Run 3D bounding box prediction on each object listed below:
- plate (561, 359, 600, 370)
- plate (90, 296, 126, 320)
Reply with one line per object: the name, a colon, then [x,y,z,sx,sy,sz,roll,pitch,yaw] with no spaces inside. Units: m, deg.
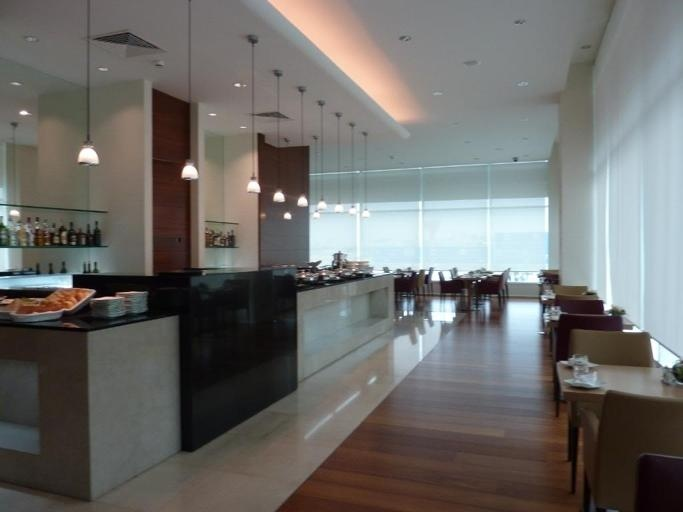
plate: [1.809,0.843,4.082,0.177,0.027,0.181,0,-3,7]
plate: [-1.892,0.422,4.286,0.208,0.107,0.172,1,0,29]
